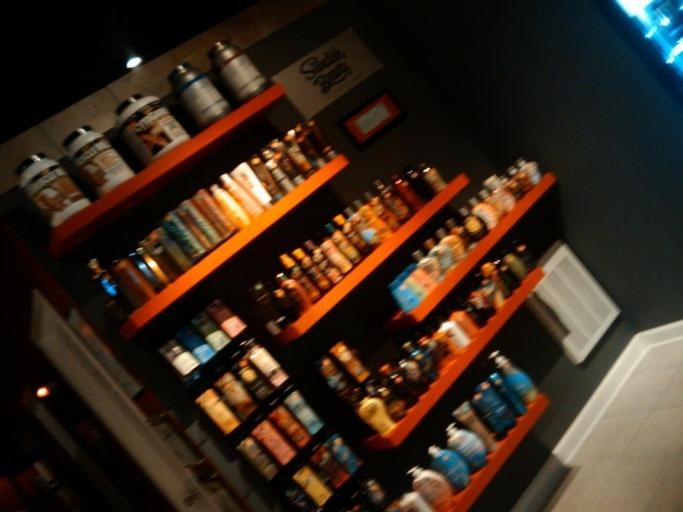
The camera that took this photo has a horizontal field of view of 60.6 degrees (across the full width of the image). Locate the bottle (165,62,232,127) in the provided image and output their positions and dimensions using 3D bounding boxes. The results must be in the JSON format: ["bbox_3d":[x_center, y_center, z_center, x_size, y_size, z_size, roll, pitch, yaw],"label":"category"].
[{"bbox_3d":[-0.658,-0.731,2.684,0.190,0.340,0.193,-36,-15,-11],"label":"bottle"}]

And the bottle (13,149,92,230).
[{"bbox_3d":[-1.238,-0.292,2.488,0.182,0.337,0.050,-36,-5,-14],"label":"bottle"}]

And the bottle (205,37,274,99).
[{"bbox_3d":[-0.487,-0.851,2.746,0.197,0.287,0.239,-14,12,-28],"label":"bottle"}]

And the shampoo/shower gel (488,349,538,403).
[{"bbox_3d":[0.845,0.605,2.923,0.105,0.243,0.106,-43,-6,16],"label":"shampoo/shower gel"}]

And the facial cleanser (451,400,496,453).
[{"bbox_3d":[0.638,0.806,2.814,0.136,0.215,0.150,-5,6,-15],"label":"facial cleanser"}]

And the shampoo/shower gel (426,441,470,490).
[{"bbox_3d":[0.497,0.970,2.697,0.119,0.167,0.114,-44,-10,29],"label":"shampoo/shower gel"}]

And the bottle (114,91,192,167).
[{"bbox_3d":[-0.848,-0.557,2.598,0.243,0.326,0.193,-38,-2,-33],"label":"bottle"}]
